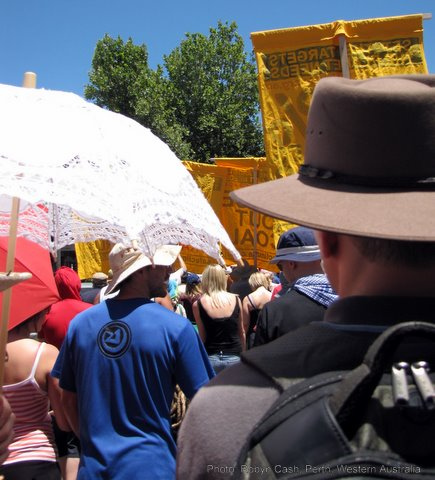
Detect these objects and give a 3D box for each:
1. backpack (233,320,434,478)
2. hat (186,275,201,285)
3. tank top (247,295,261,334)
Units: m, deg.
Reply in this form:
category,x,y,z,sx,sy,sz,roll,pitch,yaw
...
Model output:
category,x,y,z,sx,sy,sz,roll,pitch,yaw
backpack,0.208,0.296,1.054,0.366,0.337,0.247,-4,-9,12
hat,-0.294,0.482,6.341,0.157,0.107,0.207,-7,6,-8
tank top,0.319,0.745,4.861,0.152,0.201,0.188,4,34,1
